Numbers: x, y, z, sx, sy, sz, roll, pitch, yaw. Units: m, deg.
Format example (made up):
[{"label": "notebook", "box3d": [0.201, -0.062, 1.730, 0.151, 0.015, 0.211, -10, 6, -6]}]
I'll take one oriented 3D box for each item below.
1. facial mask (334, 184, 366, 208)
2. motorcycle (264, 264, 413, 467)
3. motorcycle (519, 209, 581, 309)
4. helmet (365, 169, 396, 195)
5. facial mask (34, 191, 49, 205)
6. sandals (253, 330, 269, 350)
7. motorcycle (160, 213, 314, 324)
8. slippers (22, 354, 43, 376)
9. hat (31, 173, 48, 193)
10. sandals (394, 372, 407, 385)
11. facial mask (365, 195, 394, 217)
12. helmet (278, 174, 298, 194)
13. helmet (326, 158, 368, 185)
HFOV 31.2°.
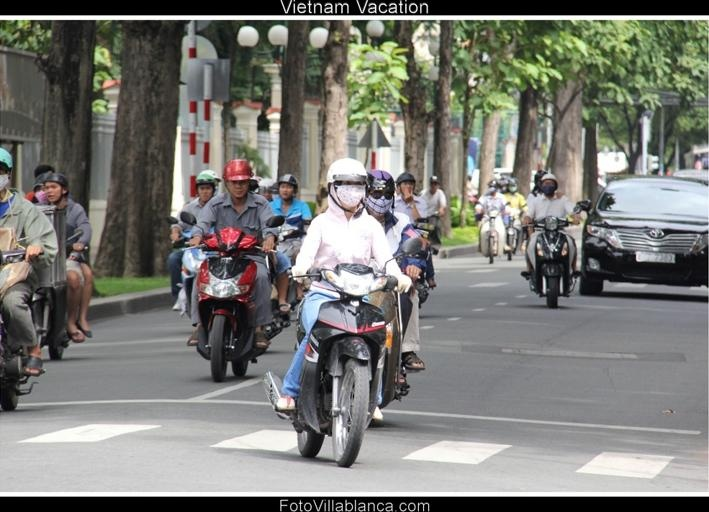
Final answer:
[{"label": "facial mask", "box3d": [-0.035, -0.469, 9.912, 0.158, 0.123, 0.200, -1, 7, -9]}, {"label": "motorcycle", "box3d": [-0.100, 0.824, 9.463, 0.869, 1.511, 0.862, 0, 5, 2]}, {"label": "motorcycle", "box3d": [3.054, 0.092, 19.772, 0.781, 1.402, 1.069, 0, 5, 6]}, {"label": "helmet", "box3d": [0.238, -0.664, 11.403, 0.246, 0.226, 0.194, -2, -2, 22]}, {"label": "facial mask", "box3d": [-3.520, -0.643, 14.299, 0.161, 0.174, 0.194, -1, -2, -6]}, {"label": "sandals", "box3d": [-0.961, 0.864, 12.891, 0.164, 0.175, 0.432, 0, -5, -5]}, {"label": "motorcycle", "box3d": [-1.290, 0.180, 15.573, 1.158, 1.291, 1.940, 1, -2, 9]}, {"label": "slippers", "box3d": [-2.924, 1.003, 11.526, 0.173, 0.194, 0.532, 1, -3, -7]}, {"label": "hat", "box3d": [-3.654, -0.877, 14.799, 0.266, 0.155, 0.382, -1, -5, -16]}, {"label": "sandals", "box3d": [0.390, 1.051, 10.843, 0.130, 0.093, 0.199, 2, -7, -4]}, {"label": "facial mask", "box3d": [0.205, -0.444, 11.410, 0.175, 0.119, 0.188, 1, 5, -9]}, {"label": "helmet", "box3d": [-0.903, -0.964, 16.963, 0.198, 0.283, 0.224, 3, 39, 3]}, {"label": "helmet", "box3d": [-0.053, -0.665, 9.985, 0.299, 0.191, 0.293, 0, 5, 3]}]
